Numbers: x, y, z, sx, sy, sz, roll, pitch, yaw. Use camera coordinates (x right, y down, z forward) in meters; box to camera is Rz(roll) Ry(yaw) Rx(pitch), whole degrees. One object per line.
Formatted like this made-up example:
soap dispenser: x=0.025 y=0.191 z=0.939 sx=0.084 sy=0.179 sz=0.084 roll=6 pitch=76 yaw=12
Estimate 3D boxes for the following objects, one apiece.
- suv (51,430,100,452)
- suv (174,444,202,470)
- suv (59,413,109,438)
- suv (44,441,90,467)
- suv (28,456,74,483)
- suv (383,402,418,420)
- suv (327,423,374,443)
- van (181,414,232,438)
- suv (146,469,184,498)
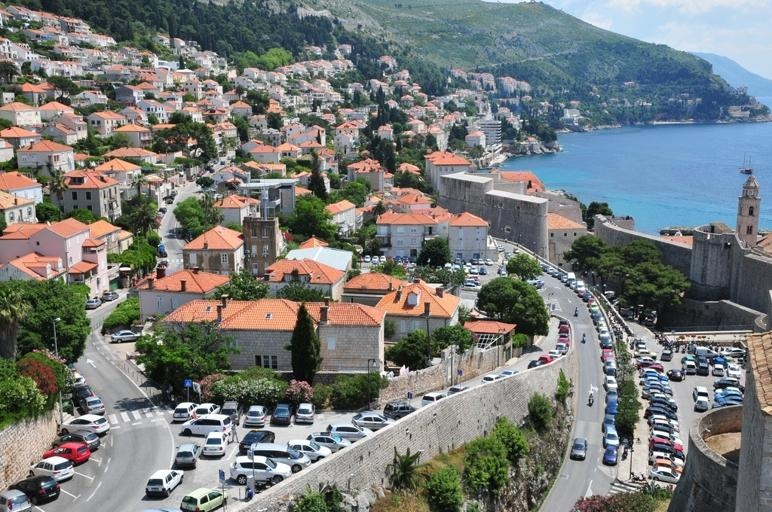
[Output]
suv: x=-23.444 y=13.832 z=75.906 sx=2.693 sy=1.287 sz=1.647 roll=13 pitch=11 yaw=11
suv: x=-14.869 y=14.931 z=74.165 sx=1.962 sy=1.535 sz=1.419 roll=-1 pitch=13 yaw=-13
suv: x=-23.246 y=13.051 z=77.398 sx=2.882 sy=1.151 sz=1.695 roll=7 pitch=7 yaw=14
suv: x=-23.823 y=14.561 z=74.685 sx=2.739 sy=1.314 sz=1.683 roll=13 pitch=10 yaw=14
suv: x=-24.688 y=15.673 z=73.172 sx=2.777 sy=1.310 sz=1.641 roll=10 pitch=9 yaw=30
suv: x=1.031 y=12.483 z=81.084 sx=2.069 sy=0.997 sz=1.241 roll=-10 pitch=12 yaw=-17
suv: x=-2.924 y=13.477 z=76.812 sx=3.139 sy=1.058 sz=1.433 roll=2 pitch=22 yaw=4
van: x=-13.837 y=13.053 z=77.404 sx=3.169 sy=1.441 sz=1.764 roll=4 pitch=3 yaw=4
suv: x=-15.993 y=16.239 z=72.088 sx=1.429 sy=1.105 sz=2.391 roll=8 pitch=29 yaw=17
